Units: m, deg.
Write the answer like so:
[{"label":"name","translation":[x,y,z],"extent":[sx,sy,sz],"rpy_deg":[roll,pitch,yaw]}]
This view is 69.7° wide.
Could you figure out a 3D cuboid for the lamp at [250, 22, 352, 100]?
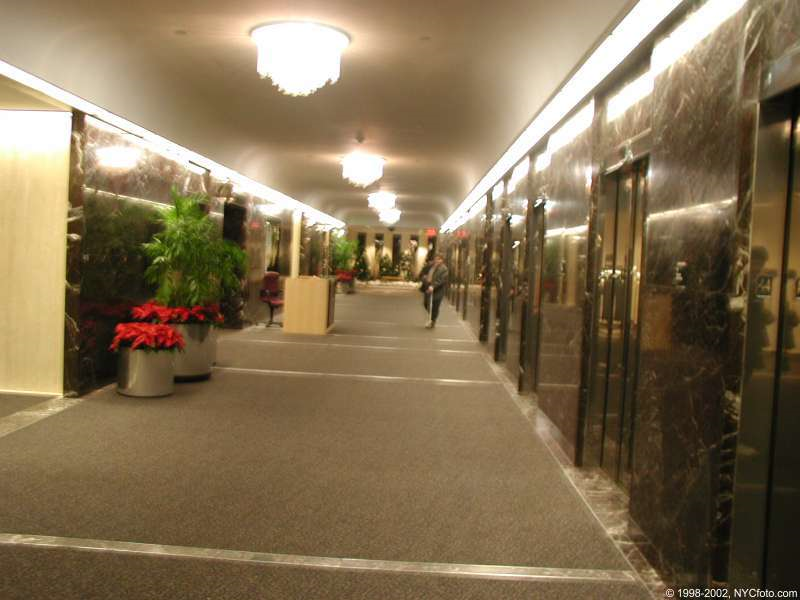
[{"label":"lamp","translation":[-1.018,-2.433,5.728],"extent":[0.635,0.261,0.692],"rpy_deg":[2,8,10]}]

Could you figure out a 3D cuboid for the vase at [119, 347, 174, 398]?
[{"label":"vase","translation":[-3.185,0.919,7.306],"extent":[0.560,0.517,0.627],"rpy_deg":[3,-4,-1]}]

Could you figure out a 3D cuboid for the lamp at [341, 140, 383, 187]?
[{"label":"lamp","translation":[-0.803,-2.789,11.774],"extent":[0.814,0.592,0.893],"rpy_deg":[3,4,0]}]

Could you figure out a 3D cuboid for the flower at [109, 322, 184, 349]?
[{"label":"flower","translation":[-3.155,0.446,7.100],"extent":[0.473,0.237,0.509],"rpy_deg":[2,-1,2]}]

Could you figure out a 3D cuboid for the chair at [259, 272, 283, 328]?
[{"label":"chair","translation":[-3.381,-0.091,14.982],"extent":[0.558,1.318,2.363],"rpy_deg":[1,5,-13]}]

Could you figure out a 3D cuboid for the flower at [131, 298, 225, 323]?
[{"label":"flower","translation":[-3.149,0.182,8.092],"extent":[1.188,0.303,0.687],"rpy_deg":[1,5,-21]}]

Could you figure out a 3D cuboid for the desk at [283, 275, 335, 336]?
[{"label":"desk","translation":[-2.173,0.127,13.779],"extent":[0.995,1.444,1.991],"rpy_deg":[1,0,2]}]

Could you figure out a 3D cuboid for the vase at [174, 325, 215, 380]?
[{"label":"vase","translation":[-2.941,0.750,8.227],"extent":[0.538,0.677,0.659],"rpy_deg":[2,-4,-3]}]
